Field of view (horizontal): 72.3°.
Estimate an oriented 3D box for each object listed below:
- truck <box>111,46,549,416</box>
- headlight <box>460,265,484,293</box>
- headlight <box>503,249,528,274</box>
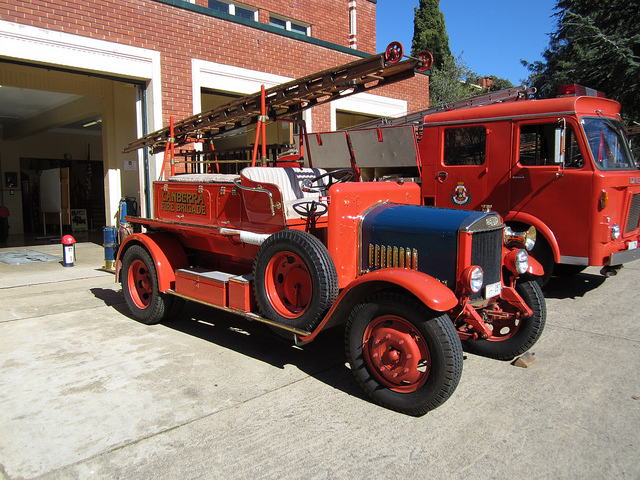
[{"bbox_3d":[-0.660,-0.558,6.202,6.380,3.753,2.416,7,9,37],"label":"truck"},{"bbox_3d":[1.399,0.365,4.082,0.100,0.189,0.171,14,50,44],"label":"headlight"},{"bbox_3d":[2.106,0.188,4.783,0.322,0.322,0.226,-5,4,-40],"label":"headlight"}]
